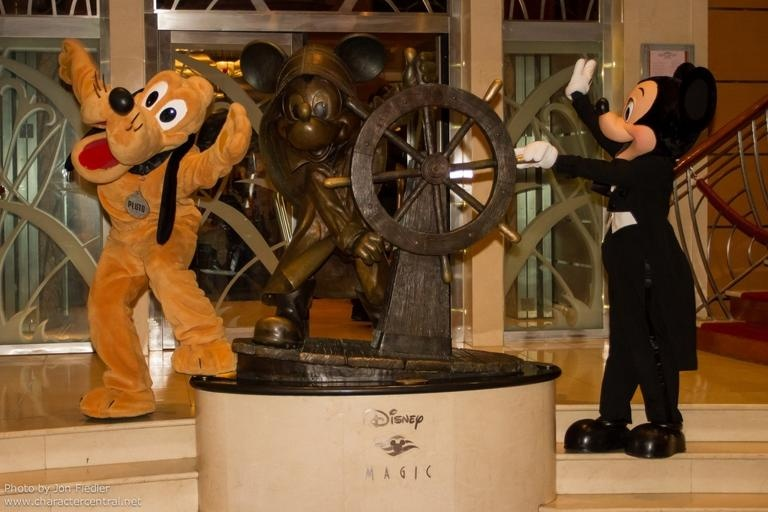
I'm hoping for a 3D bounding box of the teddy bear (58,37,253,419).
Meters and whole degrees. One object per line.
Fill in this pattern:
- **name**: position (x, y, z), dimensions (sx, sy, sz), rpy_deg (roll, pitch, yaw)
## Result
- **teddy bear**: position (-1.304, -0.151, 4.906), dimensions (1.019, 2.124, 0.669), rpy_deg (0, 5, -12)
